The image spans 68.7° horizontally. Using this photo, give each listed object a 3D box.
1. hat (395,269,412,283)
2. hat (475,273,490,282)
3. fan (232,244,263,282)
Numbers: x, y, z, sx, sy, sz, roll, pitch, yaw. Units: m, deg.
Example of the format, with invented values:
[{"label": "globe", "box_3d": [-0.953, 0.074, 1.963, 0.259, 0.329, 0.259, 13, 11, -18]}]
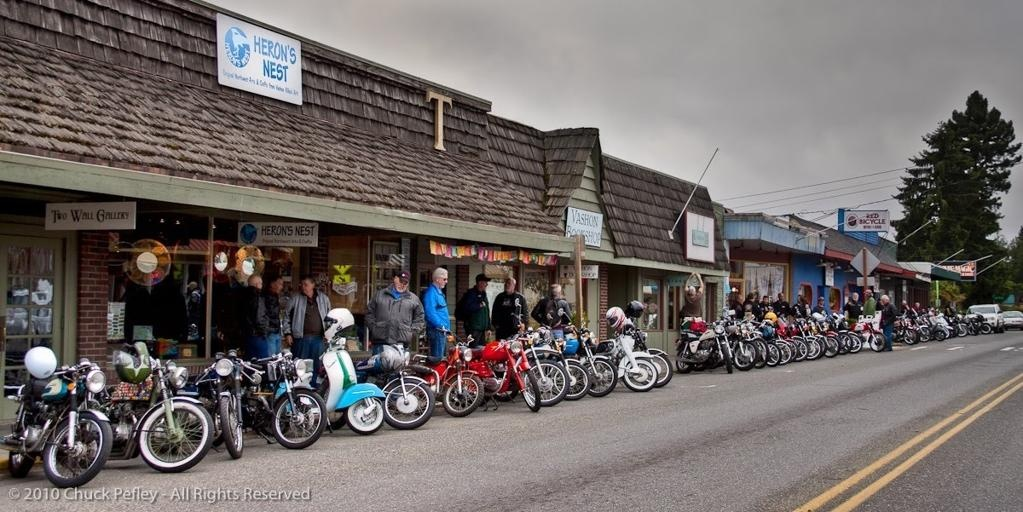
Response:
[{"label": "hat", "box_3d": [-2.496, 0.471, 17.364, 0.220, 0.269, 0.569, -1, -7, 2]}, {"label": "hat", "box_3d": [-0.745, 0.595, 20.691, 0.369, 0.199, 0.230, -2, 3, -17]}, {"label": "fan", "box_3d": [-6.521, 0.162, 18.500, 0.697, 0.833, 0.858, 4, -6, -15]}]
